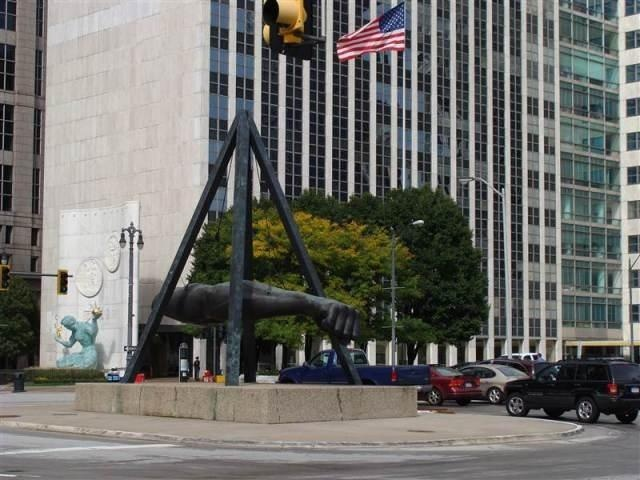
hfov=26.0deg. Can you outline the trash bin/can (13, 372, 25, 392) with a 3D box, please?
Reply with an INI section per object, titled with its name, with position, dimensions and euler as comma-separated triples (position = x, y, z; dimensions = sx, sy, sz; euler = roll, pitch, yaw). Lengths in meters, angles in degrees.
[trash bin/can]
position = -22.438, 10.638, 104.333
dimensions = 1.359, 1.461, 1.356
euler = 2, -10, -15
